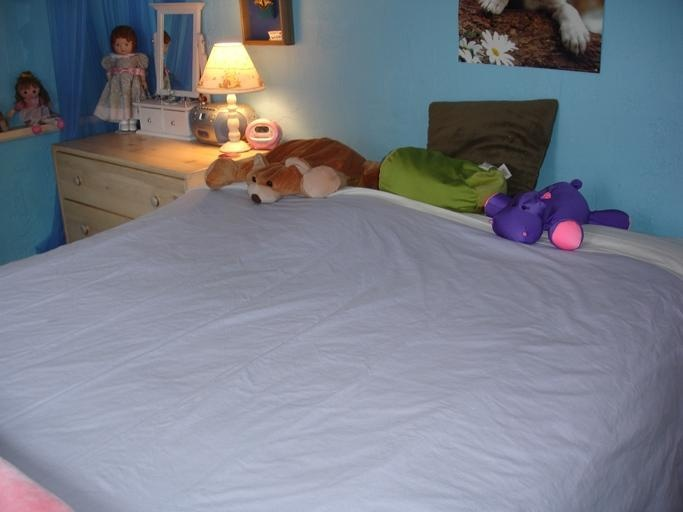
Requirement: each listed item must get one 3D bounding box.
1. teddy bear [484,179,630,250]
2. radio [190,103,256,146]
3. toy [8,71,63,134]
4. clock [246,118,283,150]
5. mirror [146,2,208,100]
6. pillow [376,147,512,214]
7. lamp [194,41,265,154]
[{"bbox_3d":[0.829,-0.167,2.008,0.374,0.132,0.385,-17,22,-15],"label":"teddy bear"},{"bbox_3d":[-0.780,-0.814,3.221,0.405,0.202,0.282,15,29,28],"label":"radio"},{"bbox_3d":[-1.890,-0.966,3.312,0.319,0.375,0.344,34,37,26],"label":"toy"},{"bbox_3d":[-0.463,-0.707,3.042,0.218,0.182,0.134,4,5,19],"label":"clock"},{"bbox_3d":[-1.063,-1.325,3.331,0.412,0.580,0.142,13,20,32],"label":"mirror"},{"bbox_3d":[0.429,-0.354,2.309,0.476,0.154,0.283,16,45,20],"label":"pillow"},{"bbox_3d":[-0.661,-0.916,2.990,0.310,0.621,0.263,14,21,34],"label":"lamp"}]
